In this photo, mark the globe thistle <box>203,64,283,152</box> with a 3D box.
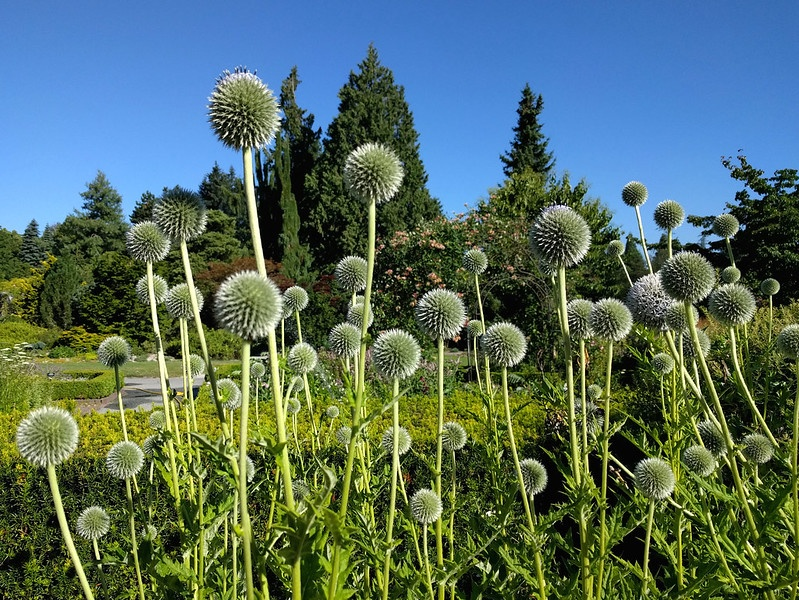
[{"bbox_3d":[-1.442,-1.666,6.042,0.487,0.866,0.535,-3,4,0],"label":"globe thistle"}]
